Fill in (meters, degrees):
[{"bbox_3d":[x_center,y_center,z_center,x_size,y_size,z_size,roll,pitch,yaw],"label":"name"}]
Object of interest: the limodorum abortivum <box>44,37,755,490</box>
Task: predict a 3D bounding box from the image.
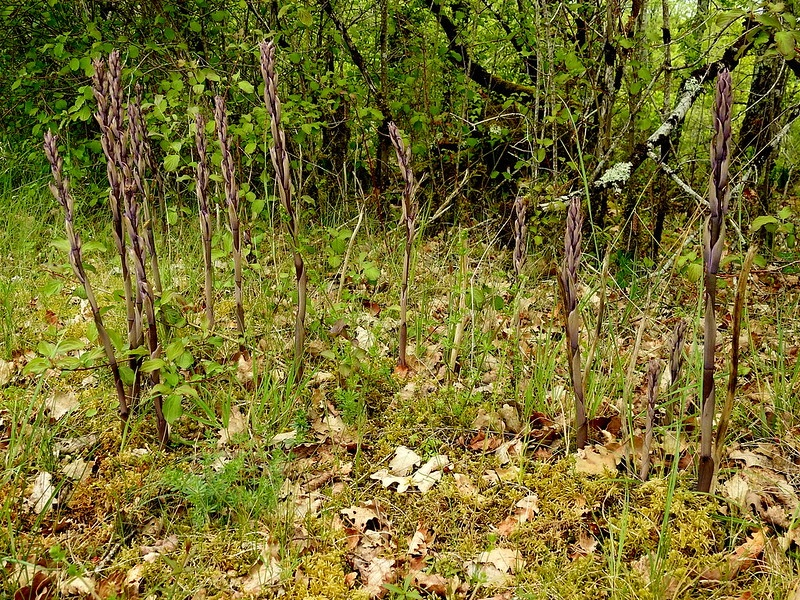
[{"bbox_3d":[0.144,-0.715,4.479,4.423,2.073,3.168,1,26,7],"label":"limodorum abortivum"}]
